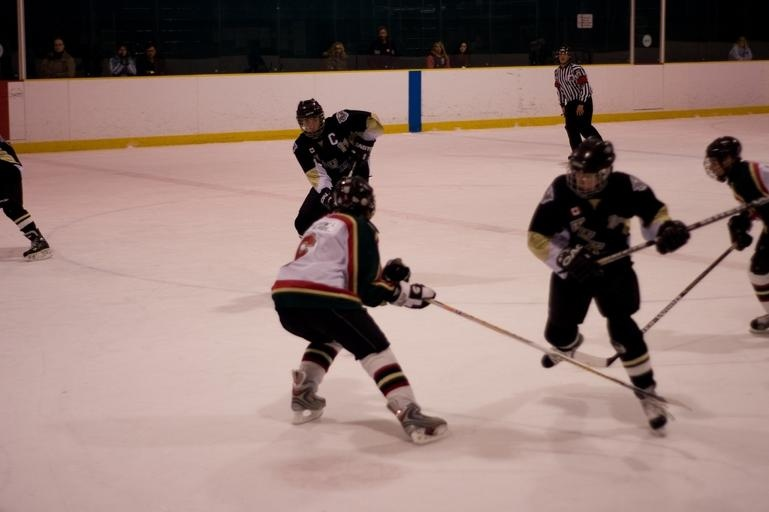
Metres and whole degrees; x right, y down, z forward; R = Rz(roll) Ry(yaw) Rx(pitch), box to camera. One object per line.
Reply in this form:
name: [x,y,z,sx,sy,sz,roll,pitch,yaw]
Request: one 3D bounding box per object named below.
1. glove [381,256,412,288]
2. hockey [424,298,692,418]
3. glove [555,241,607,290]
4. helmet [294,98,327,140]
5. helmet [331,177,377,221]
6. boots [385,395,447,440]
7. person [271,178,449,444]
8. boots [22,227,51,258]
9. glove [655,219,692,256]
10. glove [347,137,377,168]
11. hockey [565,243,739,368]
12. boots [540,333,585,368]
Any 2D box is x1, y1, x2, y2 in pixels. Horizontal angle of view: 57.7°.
glove: [0.053,0.081,3.439,0.148,0.127,0.106,-8,20,-37]
hockey: [0.959,0.585,3.867,1.398,0.109,0.108,20,60,14]
glove: [0.932,0.044,3.365,0.212,0.150,0.068,-26,-17,-8]
helmet: [-0.568,-1.004,5.035,0.222,0.245,0.259,-19,26,8]
helmet: [-0.144,-0.284,3.455,0.189,0.212,0.223,5,17,10]
boots: [0.155,0.774,3.259,0.273,0.201,0.107,-1,16,0]
person: [-0.146,0.242,3.353,0.837,1.190,0.535,1,17,7]
boots: [-3.180,-0.107,6.377,0.231,0.251,0.156,-6,17,-15]
glove: [1.362,-0.073,3.291,0.168,0.068,0.131,-39,31,-17]
glove: [-0.157,-0.783,5.356,0.186,0.270,0.242,8,8,26]
hockey: [1.583,0.320,4.127,0.103,1.101,0.193,18,39,-47]
boots: [0.959,0.514,3.783,0.105,0.255,0.085,-3,52,-56]
